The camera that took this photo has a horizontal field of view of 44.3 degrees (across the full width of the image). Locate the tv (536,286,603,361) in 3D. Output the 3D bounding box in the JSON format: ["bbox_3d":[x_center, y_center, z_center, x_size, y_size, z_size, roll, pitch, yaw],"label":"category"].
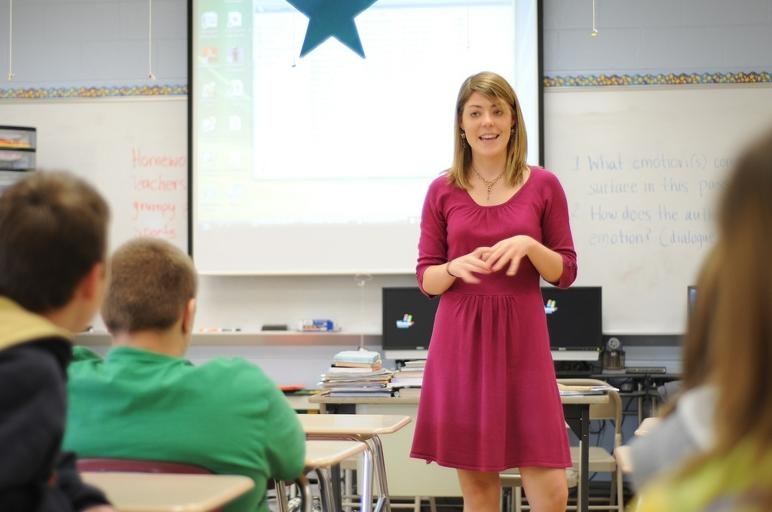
[{"bbox_3d":[1.046,0.387,5.369,0.420,0.432,0.046,-6,1,-1],"label":"tv"}]

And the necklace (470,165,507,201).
[{"bbox_3d":[0.417,-0.293,3.794,0.146,0.141,0.023,3,-2,15],"label":"necklace"}]

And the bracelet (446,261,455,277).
[{"bbox_3d":[0.247,0.052,3.707,0.035,0.052,0.019,-3,-7,7],"label":"bracelet"}]
